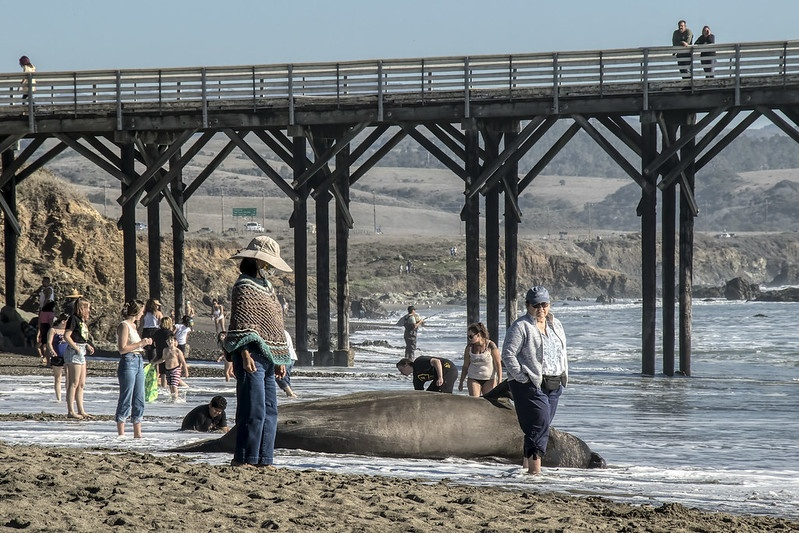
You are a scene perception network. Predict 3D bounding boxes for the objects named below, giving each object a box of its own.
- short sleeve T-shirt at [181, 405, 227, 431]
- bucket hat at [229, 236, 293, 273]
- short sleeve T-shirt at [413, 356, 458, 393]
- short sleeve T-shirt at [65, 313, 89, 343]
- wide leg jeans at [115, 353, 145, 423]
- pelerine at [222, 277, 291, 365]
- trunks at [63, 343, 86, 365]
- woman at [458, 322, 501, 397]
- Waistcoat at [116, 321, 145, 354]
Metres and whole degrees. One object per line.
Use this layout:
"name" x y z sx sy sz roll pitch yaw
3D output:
"short sleeve T-shirt" -6.648 5.188 76.166 1.060 0.749 0.909 2 6 -16
"bucket hat" -4.375 -0.335 73.601 1.407 0.645 1.288 20 -7 -31
"short sleeve T-shirt" 1.208 3.795 77.452 1.496 1.271 1.393 3 14 6
"short sleeve T-shirt" -11.157 2.099 76.897 0.448 0.864 0.860 -8 4 11
"wide leg jeans" -9.135 4.049 75.459 0.960 2.340 0.723 -1 14 -10
"pelerine" -4.612 1.738 73.980 1.854 3.198 2.753 -5 -16 22
"trunks" -11.258 3.006 77.144 0.606 0.801 0.768 -2 -4 42
"woman" 2.844 3.271 77.047 1.389 2.575 1.757 -1 14 -8
"Waistcoat" -9.167 2.656 75.932 0.815 1.466 1.499 -2 2 1
